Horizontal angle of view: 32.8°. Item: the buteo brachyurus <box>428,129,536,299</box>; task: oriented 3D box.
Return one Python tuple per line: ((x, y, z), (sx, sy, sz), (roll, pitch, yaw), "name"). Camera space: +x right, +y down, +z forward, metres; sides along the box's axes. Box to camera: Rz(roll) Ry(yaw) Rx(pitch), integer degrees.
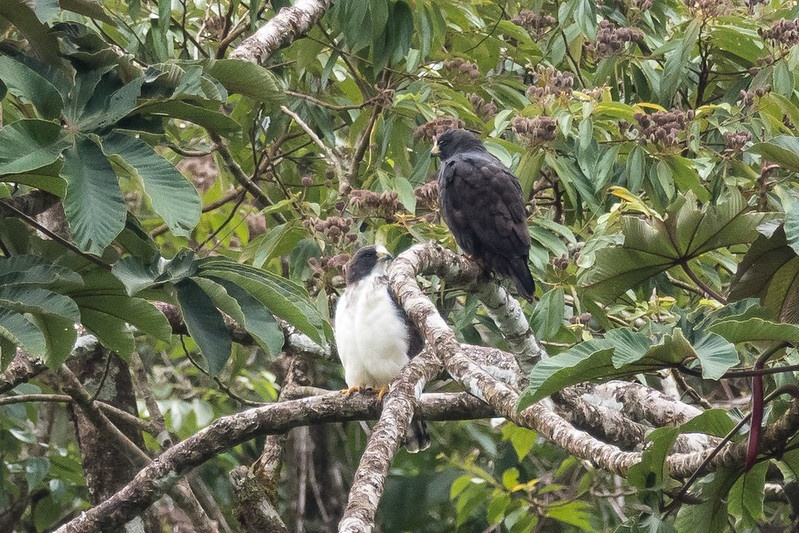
((0.518, -0.312, 8.394), (0.758, 1.034, 0.488), (8, -33, 9), "buteo brachyurus")
